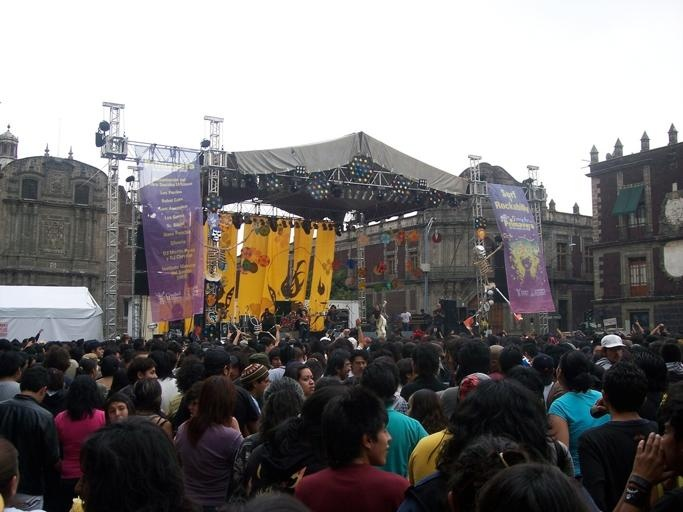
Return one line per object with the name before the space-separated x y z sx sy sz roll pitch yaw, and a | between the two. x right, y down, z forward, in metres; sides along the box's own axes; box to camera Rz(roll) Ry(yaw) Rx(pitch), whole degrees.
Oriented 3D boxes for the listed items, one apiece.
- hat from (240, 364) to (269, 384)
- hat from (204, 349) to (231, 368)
hat | -0.935 1.257 8.592 0.228 0.127 0.214 -21 2 -5
hat | -1.350 1.085 8.605 0.175 0.171 0.217 -4 18 -44
